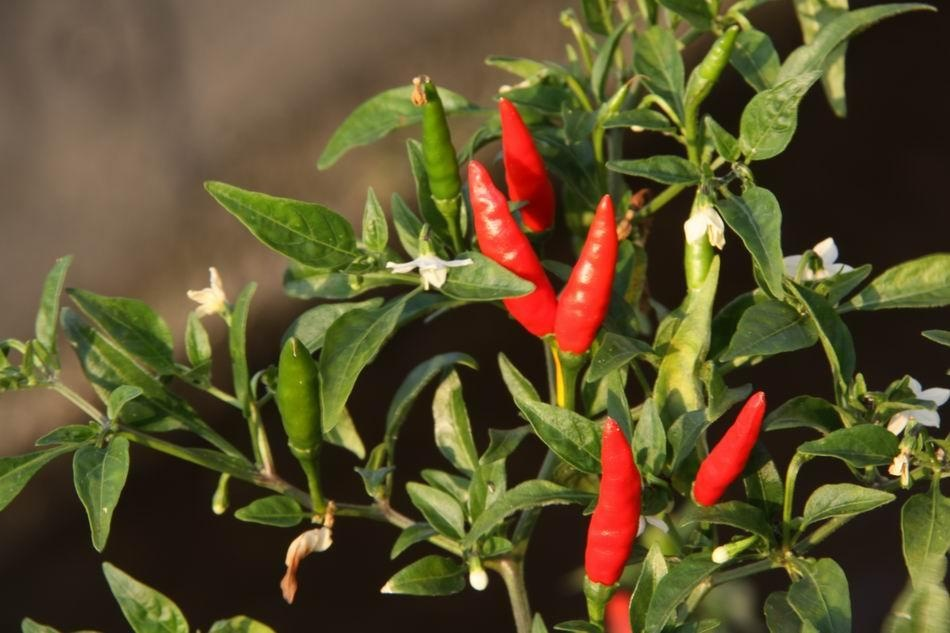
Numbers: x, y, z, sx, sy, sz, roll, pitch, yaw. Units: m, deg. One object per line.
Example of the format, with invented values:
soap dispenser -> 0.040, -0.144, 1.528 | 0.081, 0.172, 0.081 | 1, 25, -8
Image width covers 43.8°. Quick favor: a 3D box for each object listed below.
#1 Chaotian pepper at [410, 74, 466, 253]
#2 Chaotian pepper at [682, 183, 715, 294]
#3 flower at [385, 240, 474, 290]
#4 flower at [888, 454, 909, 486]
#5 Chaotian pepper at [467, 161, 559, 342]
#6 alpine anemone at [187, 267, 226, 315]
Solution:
Chaotian pepper -> -0.033, -0.172, 1.501 | 0.040, 0.264, 0.043 | 14, 35, 43
Chaotian pepper -> 0.288, -0.114, 1.492 | 0.027, 0.166, 0.039 | 2, -8, -18
flower -> -0.055, -0.060, 1.432 | 0.067, 0.050, 0.071 | -4, -7, -14
flower -> 0.522, 0.186, 1.435 | 0.025, 0.040, 0.013 | -2, 7, 29
Chaotian pepper -> 0.045, -0.082, 1.443 | 0.071, 0.266, 0.075 | -19, 1, 16
alpine anemone -> -0.356, -0.037, 1.565 | 0.064, 0.073, 0.023 | -13, 20, -29
